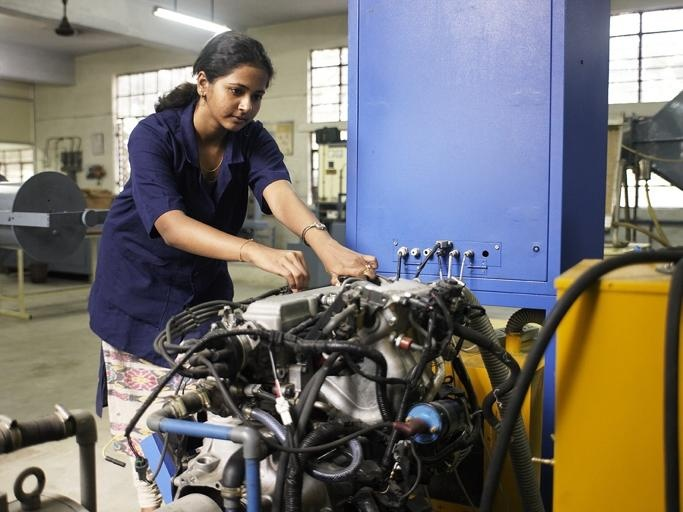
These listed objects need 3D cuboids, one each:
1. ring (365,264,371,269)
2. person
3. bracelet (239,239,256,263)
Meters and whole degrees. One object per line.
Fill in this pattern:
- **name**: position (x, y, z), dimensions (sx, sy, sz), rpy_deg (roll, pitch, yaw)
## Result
- **ring**: position (0.072, 0.029, 1.732), dimensions (0.011, 0.003, 0.011), rpy_deg (-17, 40, 15)
- **person**: position (-0.408, 0.057, 1.942), dimensions (0.924, 1.502, 0.569), rpy_deg (3, 7, 25)
- **bracelet**: position (-0.273, -0.016, 1.671), dimensions (0.040, 0.057, 0.021), rpy_deg (-1, -22, 1)
